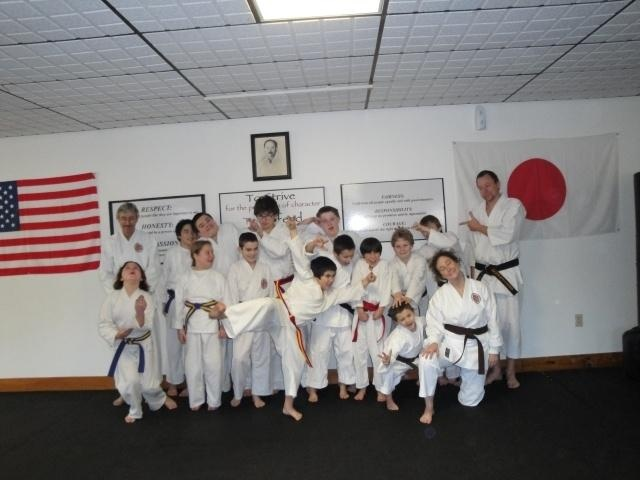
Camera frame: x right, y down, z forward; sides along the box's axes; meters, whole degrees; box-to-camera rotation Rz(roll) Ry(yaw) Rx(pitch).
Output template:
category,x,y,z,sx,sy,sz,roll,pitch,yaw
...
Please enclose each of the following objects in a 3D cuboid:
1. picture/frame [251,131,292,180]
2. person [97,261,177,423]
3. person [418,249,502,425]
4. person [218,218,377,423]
category,x,y,z,sx,sy,sz,roll,pitch,yaw
picture/frame,-0.555,-0.997,6.052,0.529,0.634,0.048,-1,4,3
person,-1.903,1.049,5.236,0.671,1.619,0.379,-5,6,-26
person,1.371,0.923,4.969,0.832,1.606,0.442,-2,5,3
person,-0.277,0.787,5.131,1.515,1.967,0.431,-3,5,-13
